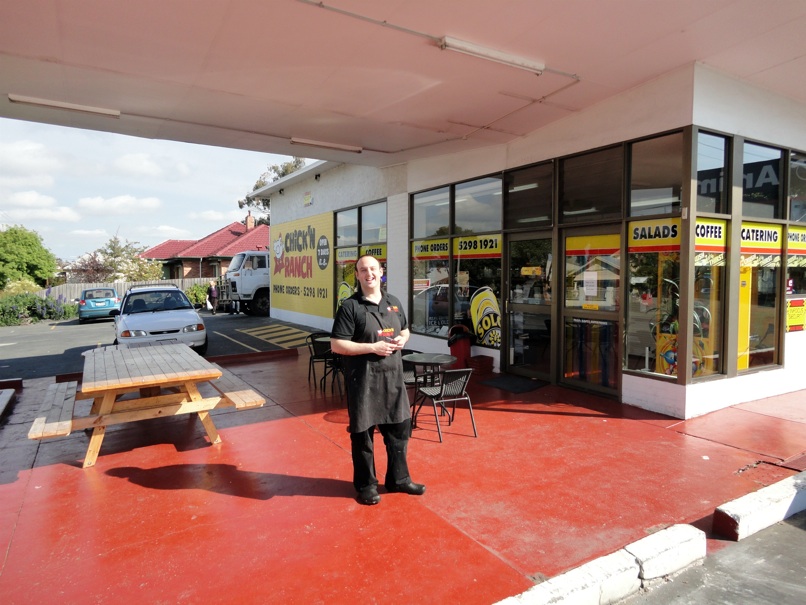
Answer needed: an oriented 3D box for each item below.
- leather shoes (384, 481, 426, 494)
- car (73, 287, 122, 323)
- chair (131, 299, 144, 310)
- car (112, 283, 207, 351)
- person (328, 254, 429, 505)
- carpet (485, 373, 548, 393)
[{"bbox_3d":[0.020,1.777,4.873,0.375,0.149,0.137,-2,-2,3],"label":"leather shoes"},{"bbox_3d":[-12.141,0.134,19.950,1.302,1.232,2.817,-3,7,-32],"label":"car"},{"bbox_3d":[-5.745,0.054,10.947,0.262,0.251,0.195,1,6,-5],"label":"chair"},{"bbox_3d":[-5.124,0.297,10.591,1.299,1.001,2.351,-2,-2,-27],"label":"car"},{"bbox_3d":[-0.249,0.721,4.772,0.829,2.275,0.580,-4,11,-17],"label":"person"},{"bbox_3d":[1.836,1.346,8.323,0.823,0.079,0.978,-9,14,-39],"label":"carpet"}]
